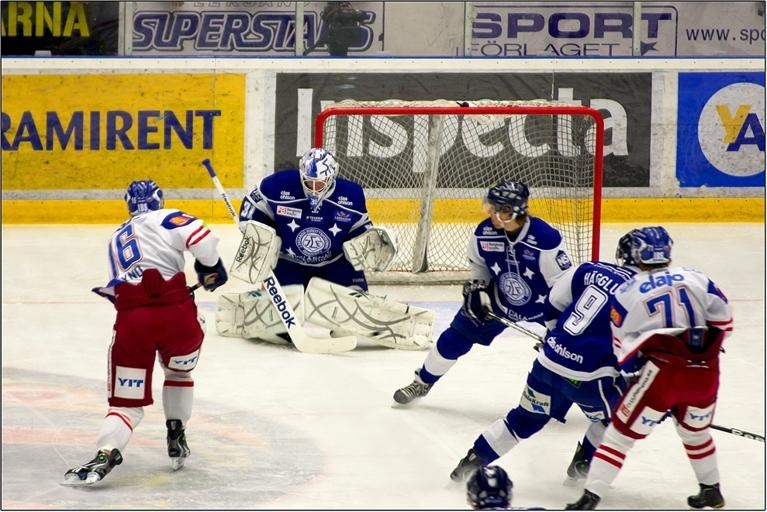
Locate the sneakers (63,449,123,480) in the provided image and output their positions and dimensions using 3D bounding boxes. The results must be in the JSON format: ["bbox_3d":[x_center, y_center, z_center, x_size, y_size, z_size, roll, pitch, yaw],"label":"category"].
[{"bbox_3d":[-1.973,1.439,7.608,0.214,0.126,0.333,16,22,39],"label":"sneakers"}]

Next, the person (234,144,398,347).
[{"bbox_3d":[-0.607,-0.067,9.822,1.528,1.514,1.044,3,8,-10],"label":"person"}]

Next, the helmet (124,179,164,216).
[{"bbox_3d":[-1.712,-0.446,8.066,0.260,0.252,0.274,-1,37,-4],"label":"helmet"}]

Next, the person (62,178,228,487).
[{"bbox_3d":[-1.688,0.504,7.878,1.167,2.059,0.487,-5,9,-36],"label":"person"}]

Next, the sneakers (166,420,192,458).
[{"bbox_3d":[-1.442,1.284,7.863,0.160,0.284,0.217,-1,7,-10],"label":"sneakers"}]

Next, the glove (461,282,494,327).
[{"bbox_3d":[0.722,0.347,8.560,0.254,0.275,0.119,-9,7,1],"label":"glove"}]

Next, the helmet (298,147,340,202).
[{"bbox_3d":[-0.535,-0.749,9.740,0.409,0.441,0.447,5,42,2],"label":"helmet"}]

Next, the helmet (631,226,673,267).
[{"bbox_3d":[1.817,-0.065,7.592,0.265,0.232,0.295,0,1,3],"label":"helmet"}]

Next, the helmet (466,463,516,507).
[{"bbox_3d":[0.663,1.415,6.890,0.265,0.243,0.255,1,-3,-3],"label":"helmet"}]
